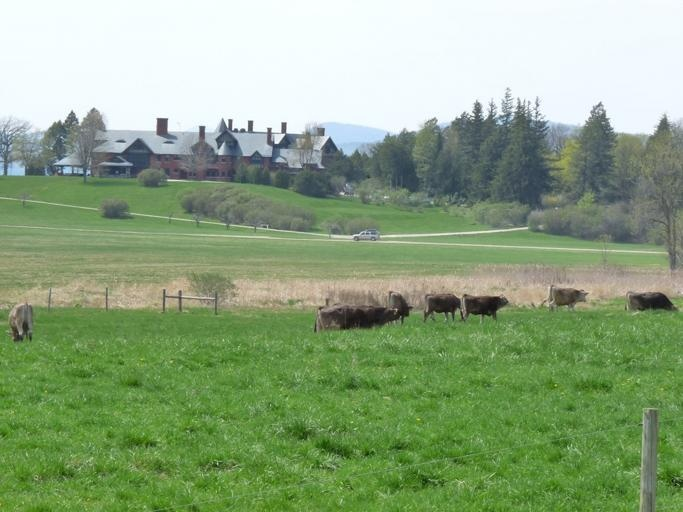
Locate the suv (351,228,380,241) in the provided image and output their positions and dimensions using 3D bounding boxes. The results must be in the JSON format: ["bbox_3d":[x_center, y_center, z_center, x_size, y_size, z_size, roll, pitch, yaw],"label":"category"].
[{"bbox_3d":[3.259,-2.622,168.460,2.660,1.432,1.665,3,0,12],"label":"suv"}]

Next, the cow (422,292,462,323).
[{"bbox_3d":[7.312,3.752,93.903,2.575,2.006,1.176,1,2,3],"label":"cow"}]
